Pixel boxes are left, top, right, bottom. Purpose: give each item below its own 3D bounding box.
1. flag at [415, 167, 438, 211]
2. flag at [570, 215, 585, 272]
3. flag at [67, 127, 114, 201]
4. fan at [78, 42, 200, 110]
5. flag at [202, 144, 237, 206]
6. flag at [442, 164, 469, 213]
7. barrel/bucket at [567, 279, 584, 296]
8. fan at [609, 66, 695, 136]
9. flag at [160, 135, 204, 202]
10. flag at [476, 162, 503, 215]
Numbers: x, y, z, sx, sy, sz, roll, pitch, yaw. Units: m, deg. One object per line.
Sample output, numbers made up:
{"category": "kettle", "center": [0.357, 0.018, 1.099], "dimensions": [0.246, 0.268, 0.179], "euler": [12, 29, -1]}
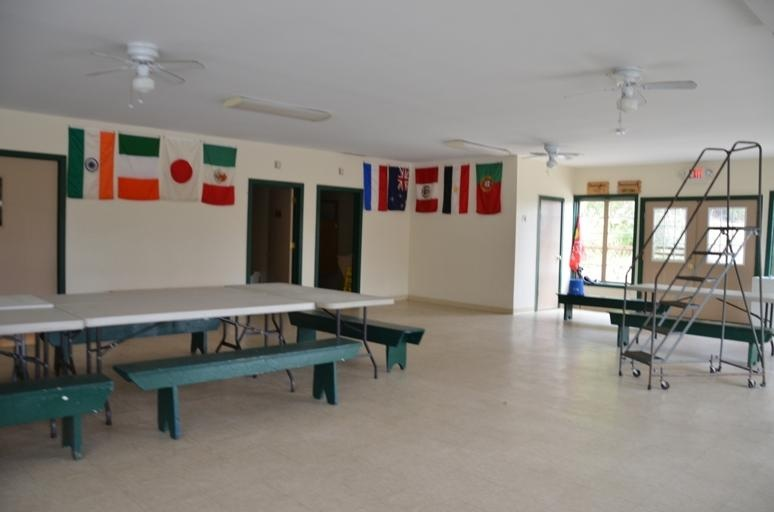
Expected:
{"category": "flag", "center": [0.905, -1.543, 12.887], "dimensions": [0.220, 1.045, 0.723], "euler": [-10, 16, -40]}
{"category": "flag", "center": [4.406, -0.242, 13.006], "dimensions": [0.299, 1.332, 0.390], "euler": [5, 13, 18]}
{"category": "flag", "center": [-4.849, -1.518, 9.196], "dimensions": [0.763, 1.136, 0.306], "euler": [-5, 14, -25]}
{"category": "fan", "center": [-2.800, -2.138, 6.494], "dimensions": [1.071, 0.483, 1.191], "euler": [-7, 14, -35]}
{"category": "flag", "center": [-3.125, -1.508, 10.374], "dimensions": [0.679, 1.118, 0.303], "euler": [-4, 14, -22]}
{"category": "flag", "center": [1.522, -1.480, 12.371], "dimensions": [0.736, 1.106, 0.164], "euler": [12, 16, 40]}
{"category": "barrel/bucket", "center": [3.891, 0.640, 11.589], "dimensions": [0.370, 0.414, 0.384], "euler": [0, 1, 0]}
{"category": "fan", "center": [2.972, -1.749, 6.697], "dimensions": [0.781, 0.359, 0.781], "euler": [0, 2, 7]}
{"category": "flag", "center": [-3.697, -1.545, 9.997], "dimensions": [0.700, 1.110, 0.308], "euler": [-3, 13, -20]}
{"category": "flag", "center": [2.142, -1.440, 11.848], "dimensions": [0.622, 1.073, 0.276], "euler": [6, 14, 22]}
